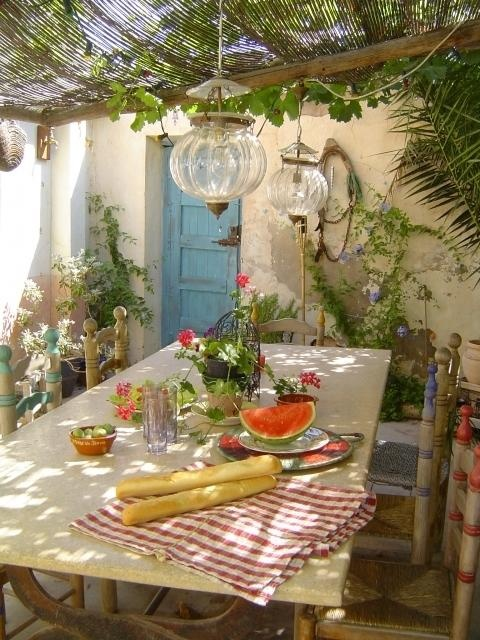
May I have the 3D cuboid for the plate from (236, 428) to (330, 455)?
[{"bbox_3d":[0.113,0.289,1.266,0.227,0.036,0.185,2,7,28],"label":"plate"}]

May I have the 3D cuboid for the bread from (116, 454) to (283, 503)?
[{"bbox_3d":[-0.081,0.312,0.966,0.336,0.048,0.066,-8,-1,-5],"label":"bread"}]

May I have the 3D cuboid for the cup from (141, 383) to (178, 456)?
[{"bbox_3d":[-0.213,0.267,1.282,0.108,0.154,0.111,1,6,0],"label":"cup"}]

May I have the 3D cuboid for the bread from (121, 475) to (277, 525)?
[{"bbox_3d":[-0.059,0.329,0.895,0.334,0.046,0.056,1,-20,-35],"label":"bread"}]
